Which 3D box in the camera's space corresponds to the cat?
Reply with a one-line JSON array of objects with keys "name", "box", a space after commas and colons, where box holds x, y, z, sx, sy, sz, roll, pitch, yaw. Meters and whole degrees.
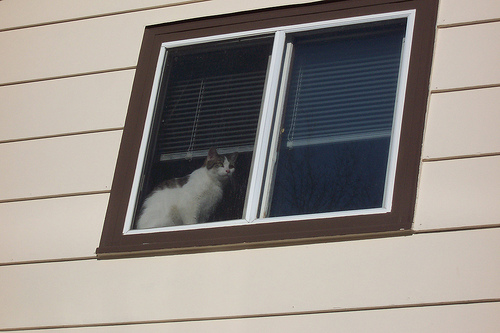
[{"name": "cat", "box": [-0.433, 0.129, 6.393, 0.662, 0.229, 0.418, -9, -74, -37]}]
